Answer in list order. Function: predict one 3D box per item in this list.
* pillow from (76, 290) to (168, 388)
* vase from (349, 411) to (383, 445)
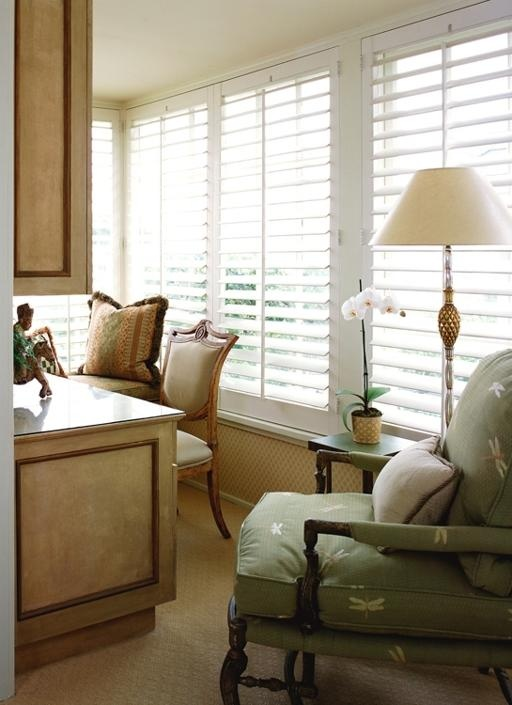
[{"bbox_3d":[-0.793,-0.083,3.512,0.558,0.540,0.198,4,-5,19],"label":"pillow"},{"bbox_3d":[0.407,0.278,2.258,0.109,0.121,0.118,0,0,0],"label":"vase"}]
